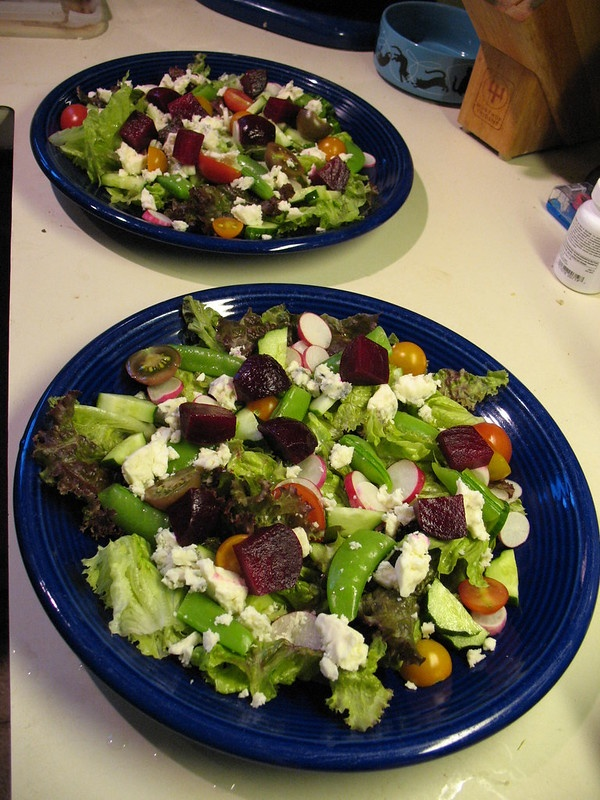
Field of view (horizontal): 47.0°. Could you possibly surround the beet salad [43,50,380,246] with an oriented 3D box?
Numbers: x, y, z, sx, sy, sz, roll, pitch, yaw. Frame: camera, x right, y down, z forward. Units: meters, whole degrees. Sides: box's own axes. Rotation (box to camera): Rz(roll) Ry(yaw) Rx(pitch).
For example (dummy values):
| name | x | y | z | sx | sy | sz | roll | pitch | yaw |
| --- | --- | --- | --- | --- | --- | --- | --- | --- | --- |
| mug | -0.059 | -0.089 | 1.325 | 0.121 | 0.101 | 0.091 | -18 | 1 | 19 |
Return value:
| name | x | y | z | sx | sy | sz | roll | pitch | yaw |
| --- | --- | --- | --- | --- | --- | --- | --- | --- | --- |
| beet salad | -0.195 | -0.742 | 1.949 | 0.864 | 0.151 | 0.836 | 14 | 49 | 1 |
